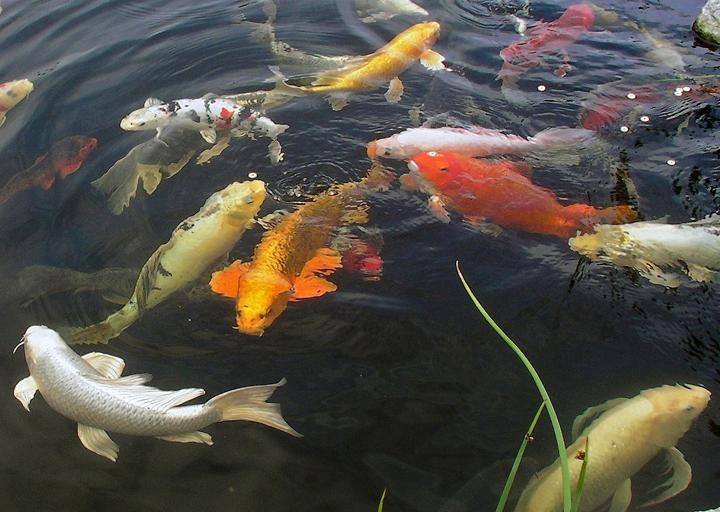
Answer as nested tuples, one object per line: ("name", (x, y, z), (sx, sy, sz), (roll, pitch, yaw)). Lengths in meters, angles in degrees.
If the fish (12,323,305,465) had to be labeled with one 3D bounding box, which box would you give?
("fish", (-2.075, 1.331, 7.074), (2.587, 0.504, 0.949), (14, 56, 14))
